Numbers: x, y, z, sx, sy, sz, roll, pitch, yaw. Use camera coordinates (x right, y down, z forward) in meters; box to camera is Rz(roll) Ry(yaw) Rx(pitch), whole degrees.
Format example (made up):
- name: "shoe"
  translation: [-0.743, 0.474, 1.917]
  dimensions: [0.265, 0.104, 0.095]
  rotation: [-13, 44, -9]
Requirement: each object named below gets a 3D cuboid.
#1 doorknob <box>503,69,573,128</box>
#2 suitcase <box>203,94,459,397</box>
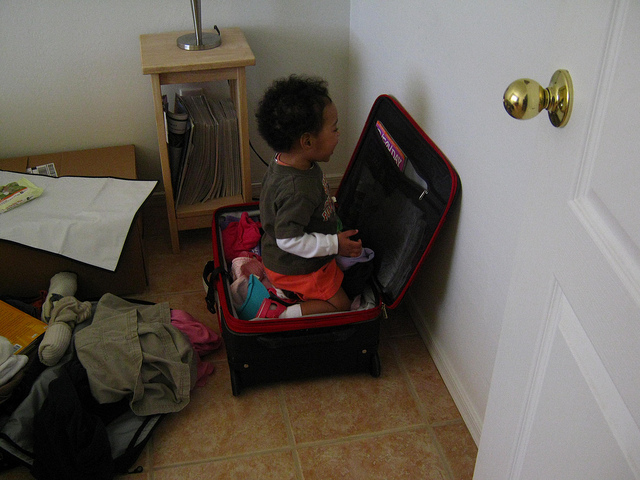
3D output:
- name: "doorknob"
  translation: [0.303, -0.200, 0.703]
  dimensions: [0.080, 0.084, 0.084]
  rotation: [-2, 31, 0]
- name: "suitcase"
  translation: [-0.042, -0.008, 1.695]
  dimensions: [0.696, 0.863, 0.694]
  rotation: [-1, 36, -20]
